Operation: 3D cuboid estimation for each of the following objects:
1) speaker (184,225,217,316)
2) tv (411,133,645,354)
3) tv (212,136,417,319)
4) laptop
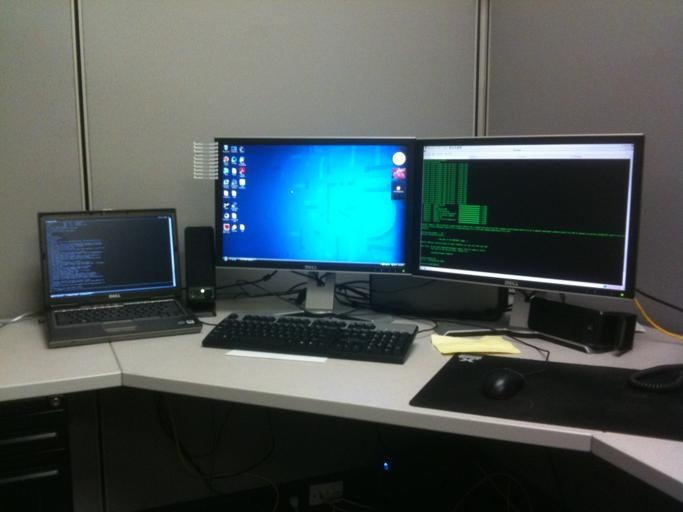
[{"bbox_3d":[-0.475,0.038,1.995,0.109,0.310,0.102,-2,19,-14],"label":"speaker"},{"bbox_3d":[0.530,-0.053,1.774,0.663,0.608,0.214,6,12,33],"label":"tv"},{"bbox_3d":[-0.076,-0.086,1.918,0.637,0.572,0.130,1,6,5],"label":"tv"},{"bbox_3d":[-0.734,0.047,1.882,0.492,0.371,0.436,-4,17,-21],"label":"laptop"}]
